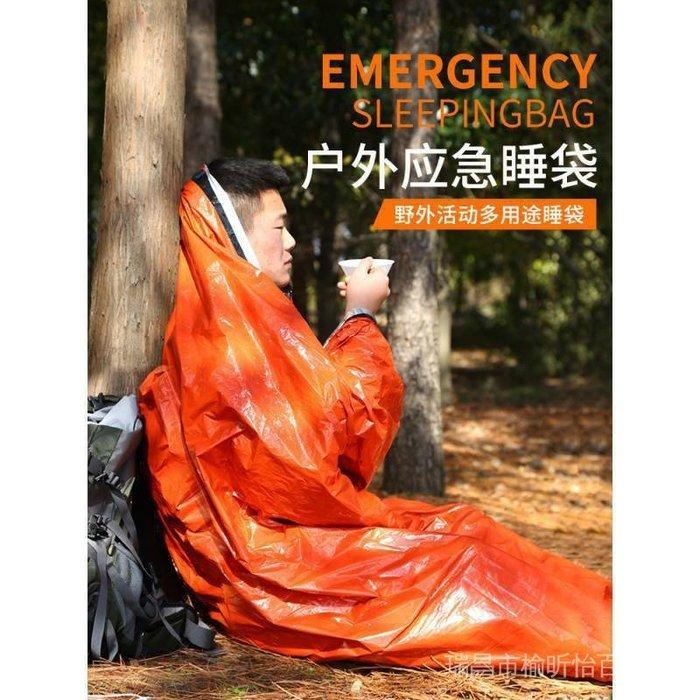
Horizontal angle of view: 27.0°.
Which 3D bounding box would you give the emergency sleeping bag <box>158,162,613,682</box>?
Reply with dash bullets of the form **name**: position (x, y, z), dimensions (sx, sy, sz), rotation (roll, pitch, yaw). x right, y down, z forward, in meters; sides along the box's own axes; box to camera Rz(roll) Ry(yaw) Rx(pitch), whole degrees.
- **emergency sleeping bag**: position (0.213, 0.280, 6.590), dimensions (2.177, 2.431, 1.415), rotation (-2, 6, 3)
